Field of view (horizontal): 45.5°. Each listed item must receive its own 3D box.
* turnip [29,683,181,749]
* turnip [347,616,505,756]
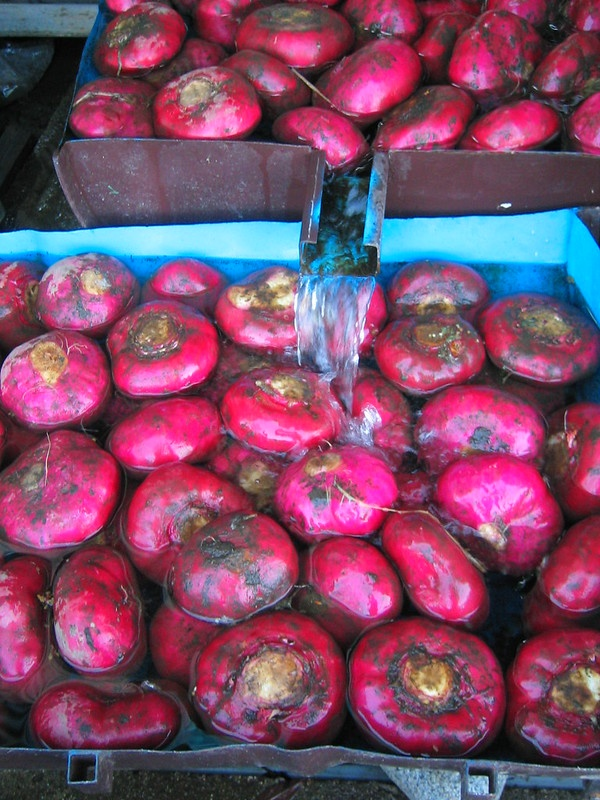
[{"bbox_3d":[-0.400,0.658,1.489,0.255,0.097,0.138,2,20,-8],"label":"turnip"},{"bbox_3d":[0.261,0.597,1.477,0.315,0.125,0.246,2,41,5],"label":"turnip"}]
